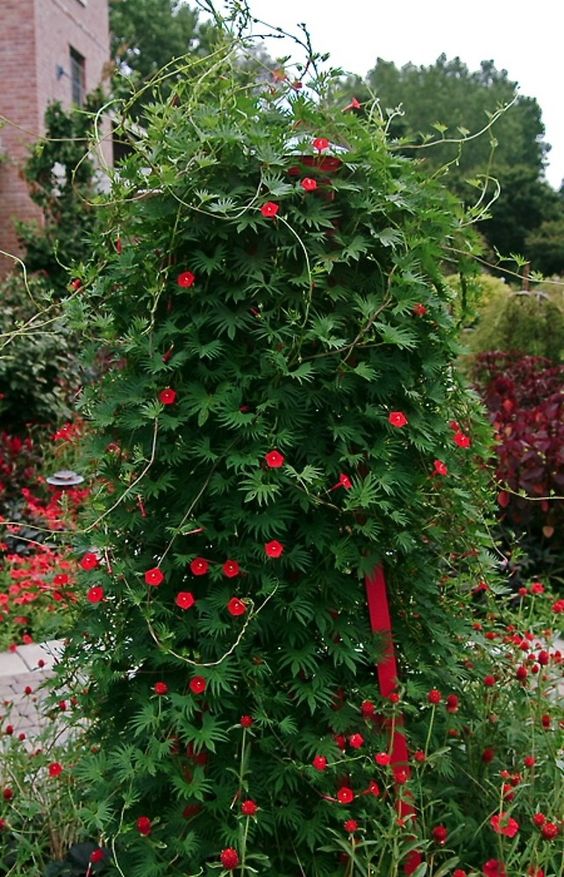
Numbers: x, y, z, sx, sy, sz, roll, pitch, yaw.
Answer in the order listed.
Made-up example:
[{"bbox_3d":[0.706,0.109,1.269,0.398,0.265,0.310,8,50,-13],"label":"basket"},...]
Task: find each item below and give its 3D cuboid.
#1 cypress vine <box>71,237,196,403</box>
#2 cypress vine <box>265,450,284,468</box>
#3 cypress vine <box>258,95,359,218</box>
[{"bbox_3d":[-0.383,-0.319,2.097,0.452,0.407,0.164,5,-4,19],"label":"cypress vine"},{"bbox_3d":[-0.016,0.046,1.736,0.040,0.039,0.067,4,1,1],"label":"cypress vine"},{"bbox_3d":[0.068,-0.652,1.820,0.199,0.282,0.224,5,0,-2],"label":"cypress vine"}]
